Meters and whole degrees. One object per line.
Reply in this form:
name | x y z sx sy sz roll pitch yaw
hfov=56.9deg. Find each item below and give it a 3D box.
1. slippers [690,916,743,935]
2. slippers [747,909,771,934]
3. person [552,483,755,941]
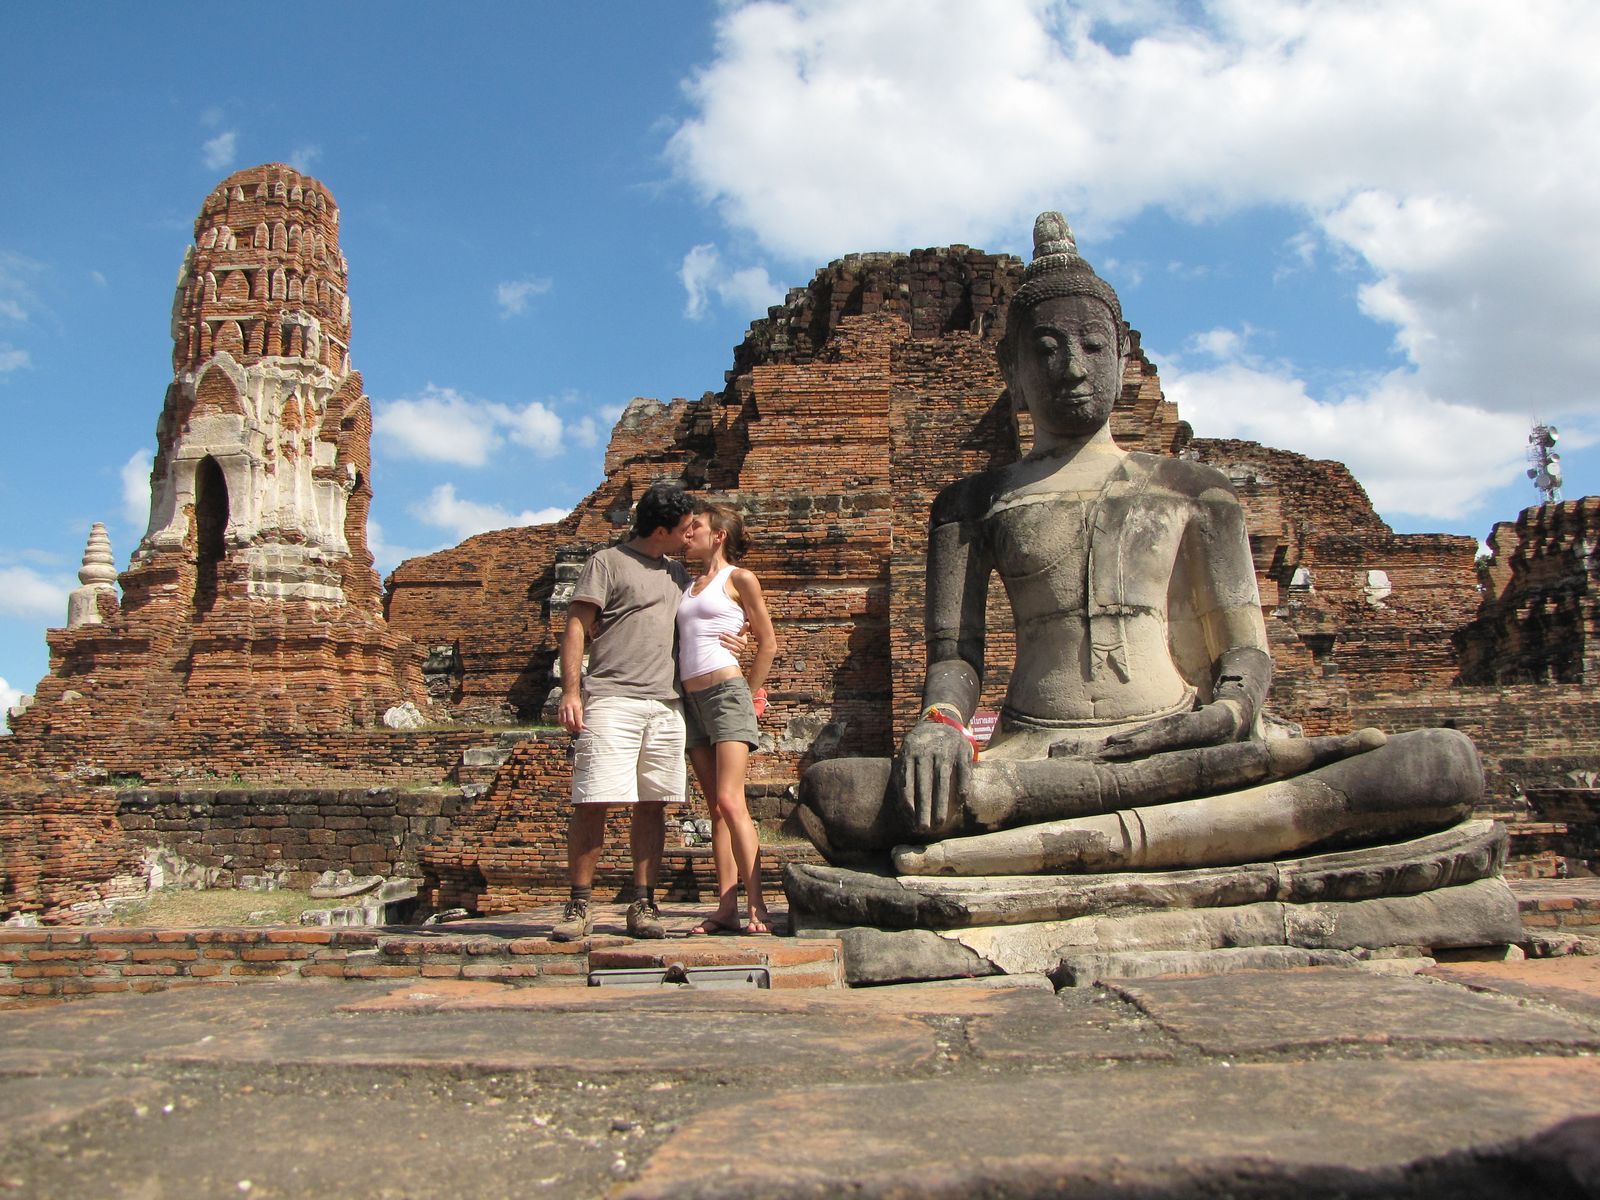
slippers | -0.292 1.135 5.140 0.195 0.060 0.066 9 -20 -14
slippers | -0.153 1.101 5.054 0.064 0.060 0.169 -1 -14 4
person | -0.639 0.475 5.163 0.573 1.353 0.303 -1 -11 -19
